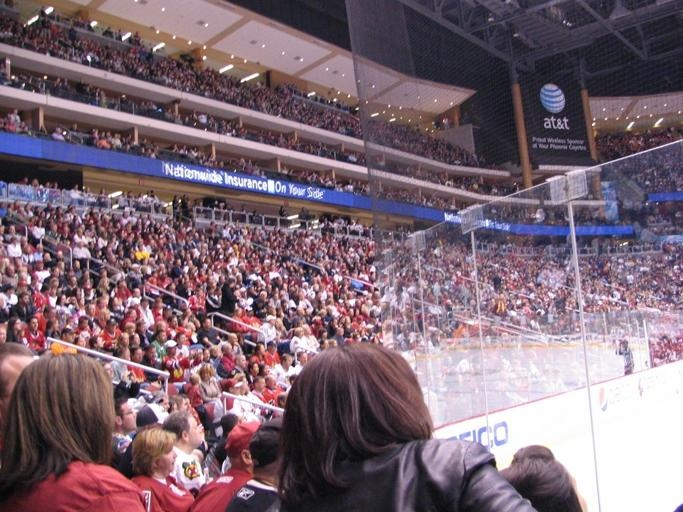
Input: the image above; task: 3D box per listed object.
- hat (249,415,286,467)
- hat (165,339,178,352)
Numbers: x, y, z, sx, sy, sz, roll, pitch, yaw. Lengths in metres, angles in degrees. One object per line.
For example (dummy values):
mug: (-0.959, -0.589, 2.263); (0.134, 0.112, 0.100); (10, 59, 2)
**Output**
hat: (-0.377, 0.923, 3.713); (0.146, 0.250, 0.266); (4, -6, -7)
hat: (-2.111, 1.115, 9.399); (0.123, 0.080, 0.101); (-13, 5, 21)
